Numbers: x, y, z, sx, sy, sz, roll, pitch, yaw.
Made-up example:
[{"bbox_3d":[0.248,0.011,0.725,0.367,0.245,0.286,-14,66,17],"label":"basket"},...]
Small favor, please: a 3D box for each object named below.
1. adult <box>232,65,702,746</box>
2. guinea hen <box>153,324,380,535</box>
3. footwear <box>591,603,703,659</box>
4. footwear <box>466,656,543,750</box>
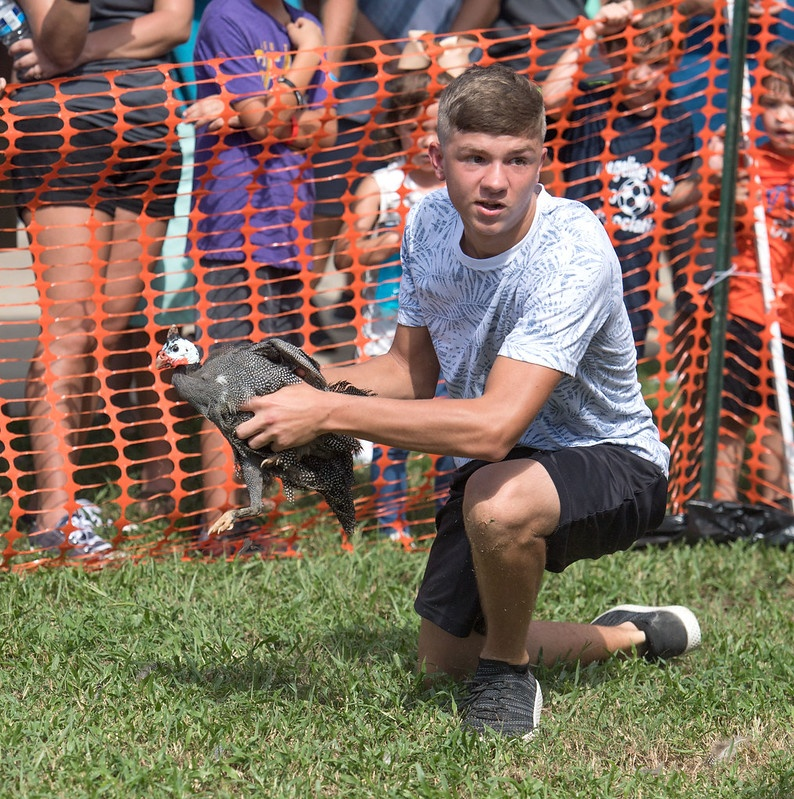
[{"bbox_3d":[0.306,0.001,2.787,1.250,1.769,0.770,3,16,3],"label":"adult"},{"bbox_3d":[-0.339,0.129,2.636,0.512,0.565,0.427,1,15,-6],"label":"guinea hen"},{"bbox_3d":[0.859,0.740,3.214,0.413,0.115,0.156,-6,-1,35],"label":"footwear"},{"bbox_3d":[0.300,0.821,2.758,0.167,0.097,0.275,0,3,20],"label":"footwear"}]
